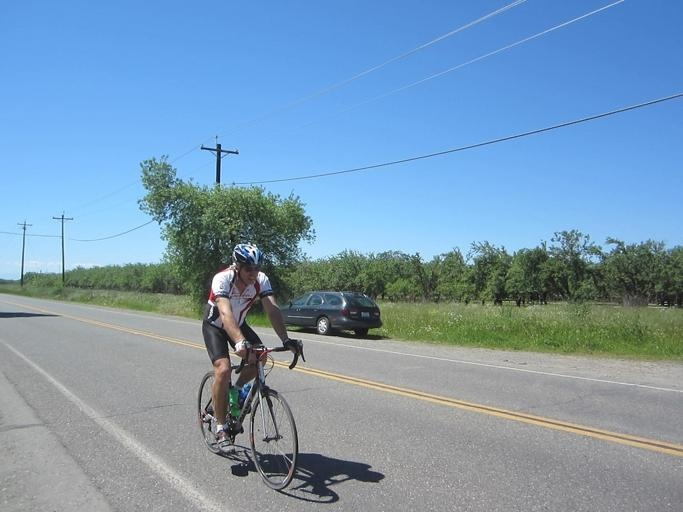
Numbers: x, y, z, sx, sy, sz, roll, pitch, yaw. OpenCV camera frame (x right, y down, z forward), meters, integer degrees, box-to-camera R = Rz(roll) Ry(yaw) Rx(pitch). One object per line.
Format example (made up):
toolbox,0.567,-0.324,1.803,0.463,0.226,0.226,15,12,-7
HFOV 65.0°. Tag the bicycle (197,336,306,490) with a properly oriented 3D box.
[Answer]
bicycle,-1.172,1.686,6.339,0.780,1.606,2.118,5,2,-40

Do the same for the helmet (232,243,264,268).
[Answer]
helmet,-1.074,0.008,6.210,0.313,0.269,0.347,0,0,-18

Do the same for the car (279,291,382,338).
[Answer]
car,-0.494,1.879,19.829,1.560,1.421,3.892,6,-3,-44
